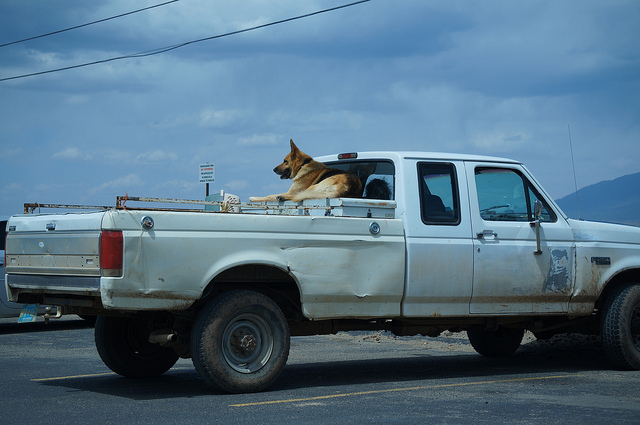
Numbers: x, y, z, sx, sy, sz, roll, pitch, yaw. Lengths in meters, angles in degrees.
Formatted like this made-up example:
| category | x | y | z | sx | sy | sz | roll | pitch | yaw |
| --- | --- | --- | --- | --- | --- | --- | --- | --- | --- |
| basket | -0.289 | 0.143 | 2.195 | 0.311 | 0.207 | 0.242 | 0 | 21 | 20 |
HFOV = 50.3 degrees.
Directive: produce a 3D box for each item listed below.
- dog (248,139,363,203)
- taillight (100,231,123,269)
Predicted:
| category | x | y | z | sx | sy | sz | roll | pitch | yaw |
| --- | --- | --- | --- | --- | --- | --- | --- | --- | --- |
| dog | -0.119 | -0.574 | 10.857 | 1.855 | 0.941 | 0.661 | 5 | -11 | 28 |
| taillight | -2.524 | 0.454 | 8.248 | 0.258 | 0.459 | 0.067 | -1 | -3 | -12 |
